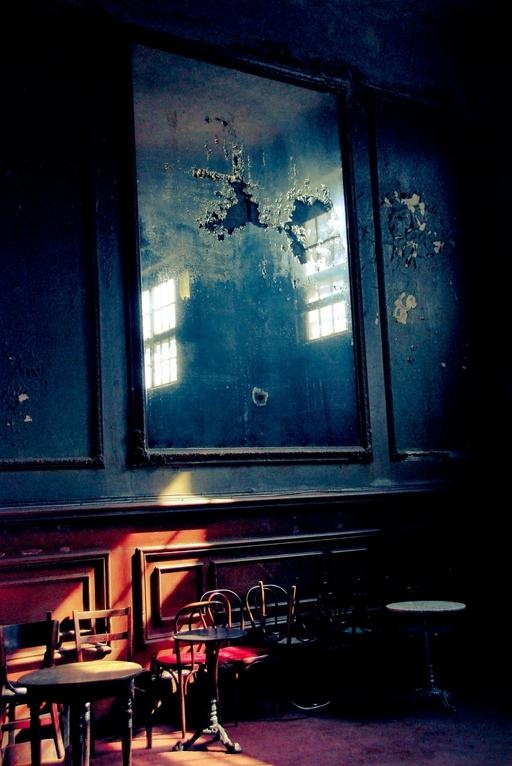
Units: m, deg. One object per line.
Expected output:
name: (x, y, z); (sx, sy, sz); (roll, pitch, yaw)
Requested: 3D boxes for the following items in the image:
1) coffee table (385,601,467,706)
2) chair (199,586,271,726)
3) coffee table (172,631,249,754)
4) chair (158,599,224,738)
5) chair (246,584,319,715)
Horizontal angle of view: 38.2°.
coffee table: (1.008, 1.601, 4.493); (0.431, 0.641, 0.762); (-1, -3, 7)
chair: (-0.162, 1.467, 4.108); (0.250, 0.478, 0.246); (6, -13, -9)
coffee table: (-0.215, 1.574, 3.774); (0.400, 0.507, 0.395); (21, -22, -36)
chair: (-0.350, 1.526, 3.981); (0.317, 0.667, 0.381); (5, -13, -29)
chair: (0.073, 1.572, 4.371); (0.369, 0.788, 0.454); (4, -16, -10)
